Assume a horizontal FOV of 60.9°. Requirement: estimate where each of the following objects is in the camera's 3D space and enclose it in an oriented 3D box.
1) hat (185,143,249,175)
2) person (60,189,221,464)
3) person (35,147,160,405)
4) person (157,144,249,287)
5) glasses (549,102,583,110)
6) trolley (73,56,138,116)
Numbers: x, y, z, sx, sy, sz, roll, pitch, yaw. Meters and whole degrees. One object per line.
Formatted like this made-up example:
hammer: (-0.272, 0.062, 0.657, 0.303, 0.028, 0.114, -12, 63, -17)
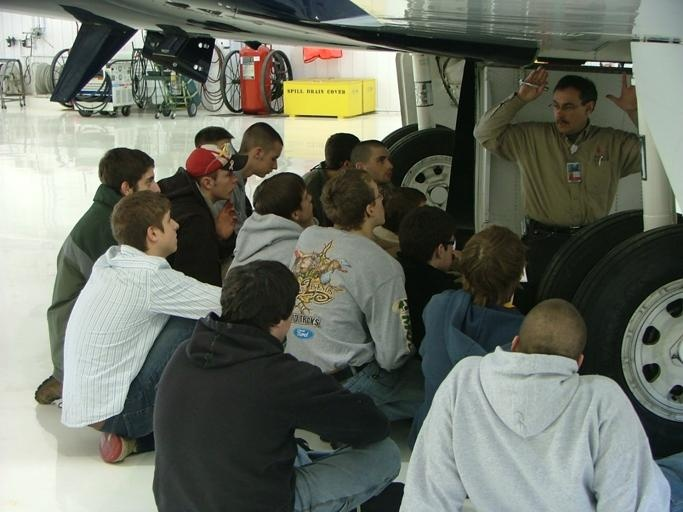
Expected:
hat: (-0.722, -0.552, 3.397, 0.282, 0.120, 0.183, -12, 27, -26)
person: (-0.871, 0.317, 2.690, 0.797, 1.192, 0.575, -4, 10, -34)
person: (-1.292, 0.151, 3.245, 0.686, 1.531, 0.684, 3, 6, 15)
person: (-0.723, -0.210, 3.114, 0.433, 0.794, 0.467, -16, 42, -24)
glasses: (1.322, -0.886, 3.419, 0.134, 0.039, 0.027, 9, 10, 24)
trolley: (-6.113, -4.350, 15.093, 1.323, 1.483, 2.259, -2, 11, -30)
